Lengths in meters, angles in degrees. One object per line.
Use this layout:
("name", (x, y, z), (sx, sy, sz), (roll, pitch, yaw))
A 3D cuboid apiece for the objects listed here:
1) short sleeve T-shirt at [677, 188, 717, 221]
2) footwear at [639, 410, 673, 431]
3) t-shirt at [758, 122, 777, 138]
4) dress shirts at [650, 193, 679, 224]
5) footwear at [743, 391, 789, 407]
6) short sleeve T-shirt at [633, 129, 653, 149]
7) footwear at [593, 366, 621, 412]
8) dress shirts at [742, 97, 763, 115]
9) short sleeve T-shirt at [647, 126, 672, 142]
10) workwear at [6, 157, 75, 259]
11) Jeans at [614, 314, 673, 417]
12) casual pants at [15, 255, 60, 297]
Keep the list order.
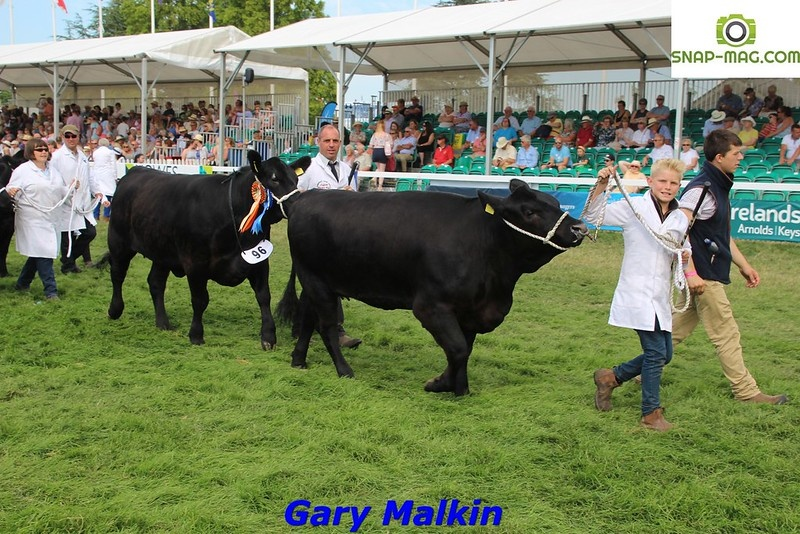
("short sleeve T-shirt", (2.929, -0.591, 7.519), (0.285, 0.367, 0.186), (-17, 51, 3))
("footwear", (2.401, 1.420, 7.139), (0.322, 0.215, 0.132), (1, 5, 0))
("t-shirt", (7.976, -2.873, 16.467), (0.378, 0.204, 0.350), (-16, 43, -26))
("dress shirts", (2.483, -0.526, 7.124), (0.223, 0.198, 0.264), (4, -3, 3))
("footwear", (3.644, 1.304, 7.570), (0.381, 0.168, 0.133), (-13, -3, 24))
("short sleeve T-shirt", (5.458, -2.781, 17.023), (0.297, 0.511, 0.510), (0, 3, -44))
("footwear", (2.016, 1.180, 7.469), (0.322, 0.456, 0.163), (3, 9, 15))
("dress shirts", (8.119, -3.597, 17.503), (0.262, 0.460, 0.369), (29, -5, -33))
("short sleeve T-shirt", (5.704, -2.859, 16.773), (0.282, 0.425, 0.536), (-2, 0, -39))
("workwear", (-4.984, -0.767, 10.449), (0.712, 1.252, 0.670), (0, 9, -15))
("Jeans", (2.329, 0.874, 7.322), (0.382, 1.052, 0.510), (3, -2, -33))
("casual pants", (-5.076, 0.111, 10.515), (0.212, 0.562, 1.032), (-14, -12, 7))
